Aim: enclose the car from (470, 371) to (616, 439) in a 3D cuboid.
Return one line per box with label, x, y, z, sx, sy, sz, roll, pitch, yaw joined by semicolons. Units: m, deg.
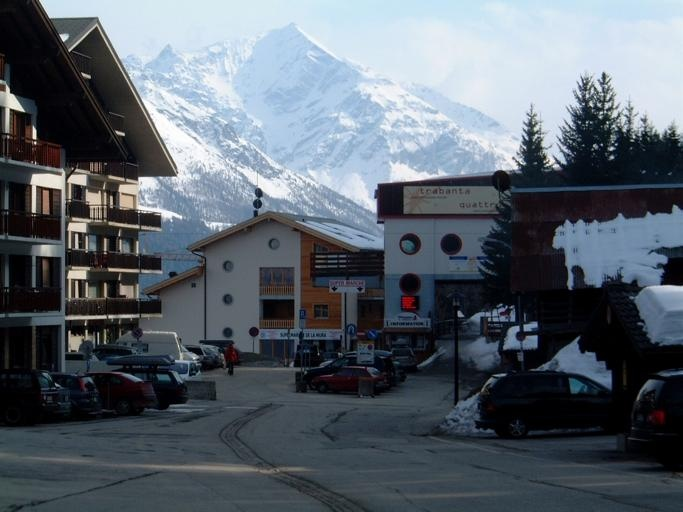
car;7.722;5.701;52.605;4.657;1.962;2.389;-2;-2;-5
